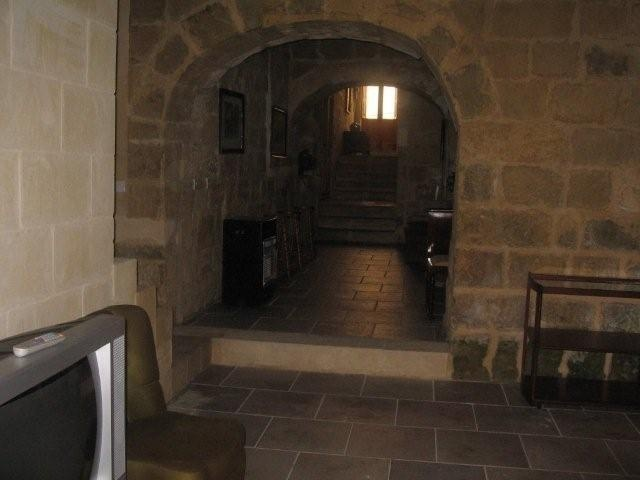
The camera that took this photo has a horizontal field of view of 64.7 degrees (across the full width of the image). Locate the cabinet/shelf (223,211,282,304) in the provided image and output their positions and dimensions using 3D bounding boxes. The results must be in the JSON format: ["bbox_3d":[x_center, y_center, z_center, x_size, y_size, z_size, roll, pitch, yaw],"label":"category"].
[{"bbox_3d":[-0.708,0.192,5.171,0.432,0.864,0.497,3,7,13],"label":"cabinet/shelf"}]

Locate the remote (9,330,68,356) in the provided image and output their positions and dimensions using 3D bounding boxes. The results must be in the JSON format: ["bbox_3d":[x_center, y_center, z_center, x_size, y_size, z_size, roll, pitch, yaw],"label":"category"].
[{"bbox_3d":[-0.686,0.247,1.229,0.040,0.018,0.078,5,9,23],"label":"remote"}]
